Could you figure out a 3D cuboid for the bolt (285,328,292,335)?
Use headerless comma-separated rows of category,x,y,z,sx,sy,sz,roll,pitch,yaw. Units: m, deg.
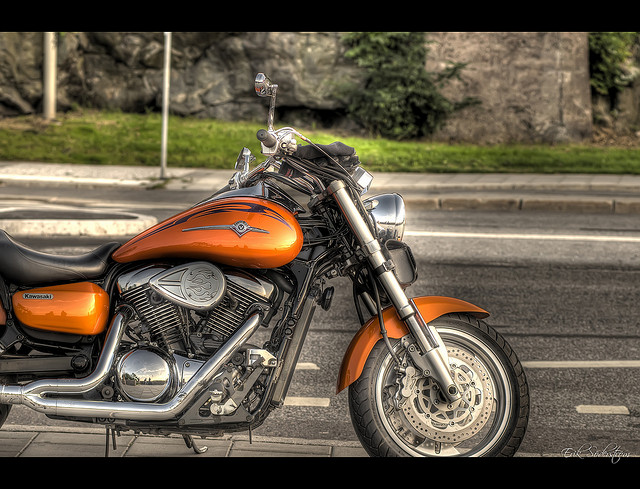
bolt,-0.222,0.590,7.371,0.047,0.027,0.031,-3,46,-9

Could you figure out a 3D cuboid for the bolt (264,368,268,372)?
bolt,-0.373,0.844,7.350,0.022,0.018,0.015,4,46,-2

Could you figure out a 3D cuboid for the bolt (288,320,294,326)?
bolt,-0.203,0.533,7.373,0.041,0.009,0.034,2,81,-3

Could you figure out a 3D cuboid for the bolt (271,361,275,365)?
bolt,-0.321,0.793,7.319,0.014,0.014,0.013,-8,48,-13

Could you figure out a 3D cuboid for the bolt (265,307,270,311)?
bolt,-0.363,0.433,7.326,0.034,0.011,0.029,0,87,-15

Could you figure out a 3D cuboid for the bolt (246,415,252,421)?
bolt,-0.488,1.163,7.324,0.044,0.010,0.037,1,89,-2

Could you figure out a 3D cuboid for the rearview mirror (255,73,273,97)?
rearview mirror,-0.387,-1.061,7.267,0.117,0.145,0.128,-2,38,3

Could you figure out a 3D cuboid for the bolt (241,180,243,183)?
bolt,-0.541,-0.429,7.445,0.021,0.005,0.016,2,82,-7

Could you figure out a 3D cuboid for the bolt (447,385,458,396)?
bolt,0.884,0.979,7.350,0.064,0.051,0.046,0,47,-6

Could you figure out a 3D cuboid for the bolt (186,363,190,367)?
bolt,-0.897,0.807,7.308,0.028,0.008,0.023,0,86,-3

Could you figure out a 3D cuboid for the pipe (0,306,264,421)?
pipe,-1.019,0.870,7.367,2.122,0.626,0.843,3,52,8

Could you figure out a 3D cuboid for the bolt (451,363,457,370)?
bolt,0.907,0.834,7.449,0.043,0.010,0.036,-2,81,1

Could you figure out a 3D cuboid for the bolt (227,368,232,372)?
bolt,-0.619,0.839,7.299,0.031,0.006,0.026,-4,85,-5

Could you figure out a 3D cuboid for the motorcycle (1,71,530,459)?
motorcycle,-0.419,0.494,7.462,3.680,1.670,1.665,11,46,5

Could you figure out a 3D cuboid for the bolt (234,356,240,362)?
bolt,-0.567,0.764,7.313,0.042,0.013,0.036,-4,95,-3
